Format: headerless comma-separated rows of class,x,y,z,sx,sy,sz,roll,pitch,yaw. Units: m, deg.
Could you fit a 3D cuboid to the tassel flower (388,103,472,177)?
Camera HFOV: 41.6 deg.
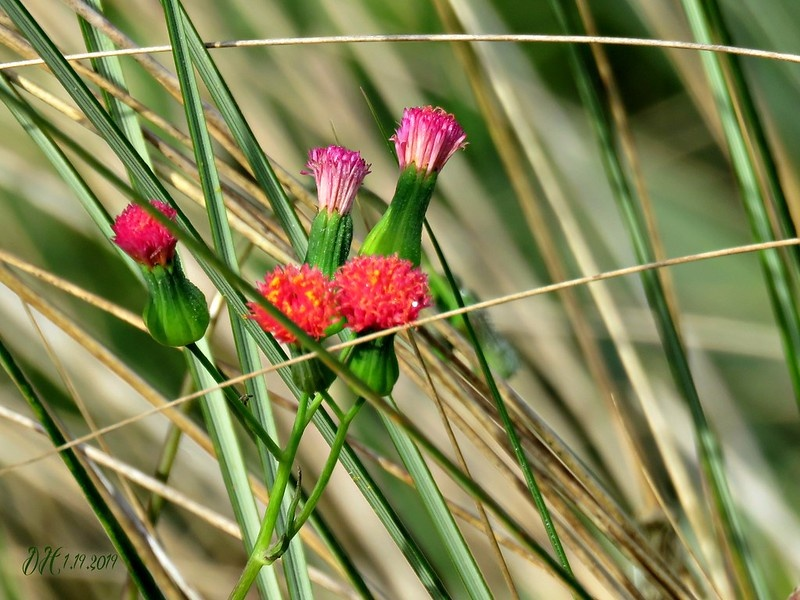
tassel flower,0.062,-0.329,2.269,0.159,0.188,0.161,9,-5,-14

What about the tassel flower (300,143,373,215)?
tassel flower,-0.146,-0.259,2.263,0.124,0.161,0.129,3,4,15

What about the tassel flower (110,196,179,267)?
tassel flower,-0.518,-0.133,2.128,0.112,0.139,0.080,-4,0,27

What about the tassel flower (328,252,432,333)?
tassel flower,-0.042,-0.010,2.114,0.148,0.125,0.166,3,33,11

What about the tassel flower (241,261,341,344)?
tassel flower,-0.213,0.008,2.129,0.183,0.161,0.121,-4,0,-10
